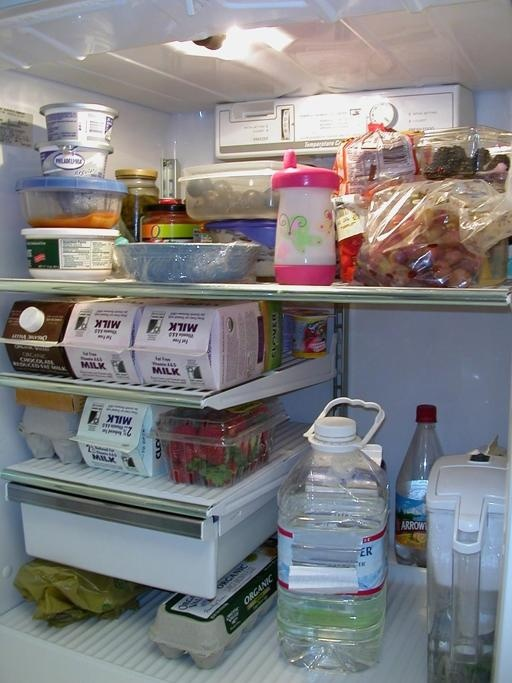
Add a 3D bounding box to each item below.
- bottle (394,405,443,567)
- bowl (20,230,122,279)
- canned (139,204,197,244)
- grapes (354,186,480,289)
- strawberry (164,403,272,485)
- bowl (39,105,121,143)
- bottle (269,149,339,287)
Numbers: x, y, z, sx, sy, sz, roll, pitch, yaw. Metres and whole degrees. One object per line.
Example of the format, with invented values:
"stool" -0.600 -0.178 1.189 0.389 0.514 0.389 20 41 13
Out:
"bottle" 0.371 0.310 1.192 0.119 0.315 0.117 6 -10 1
"bowl" -0.323 -0.153 0.958 0.158 0.093 0.071 -6 11 -20
"canned" -0.189 -0.236 1.065 0.126 0.083 0.076 4 12 29
"grapes" 0.219 -0.128 0.706 0.177 0.130 0.137 3 15 21
"strawberry" -0.071 0.180 1.002 0.142 0.127 0.182 3 12 27
"bowl" -0.311 -0.377 0.952 0.131 0.067 0.060 -5 11 -12
"bottle" 0.069 -0.165 0.777 0.097 0.162 0.119 4 9 34
